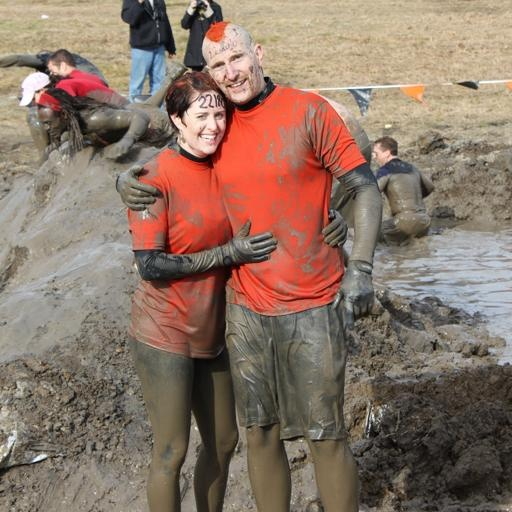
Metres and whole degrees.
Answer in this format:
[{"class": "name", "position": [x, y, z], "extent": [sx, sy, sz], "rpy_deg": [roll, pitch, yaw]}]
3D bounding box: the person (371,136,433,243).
[{"class": "person", "position": [1.727, -0.586, 9.867], "extent": [0.858, 1.557, 0.646], "rpy_deg": [-4, 11, -6]}]
